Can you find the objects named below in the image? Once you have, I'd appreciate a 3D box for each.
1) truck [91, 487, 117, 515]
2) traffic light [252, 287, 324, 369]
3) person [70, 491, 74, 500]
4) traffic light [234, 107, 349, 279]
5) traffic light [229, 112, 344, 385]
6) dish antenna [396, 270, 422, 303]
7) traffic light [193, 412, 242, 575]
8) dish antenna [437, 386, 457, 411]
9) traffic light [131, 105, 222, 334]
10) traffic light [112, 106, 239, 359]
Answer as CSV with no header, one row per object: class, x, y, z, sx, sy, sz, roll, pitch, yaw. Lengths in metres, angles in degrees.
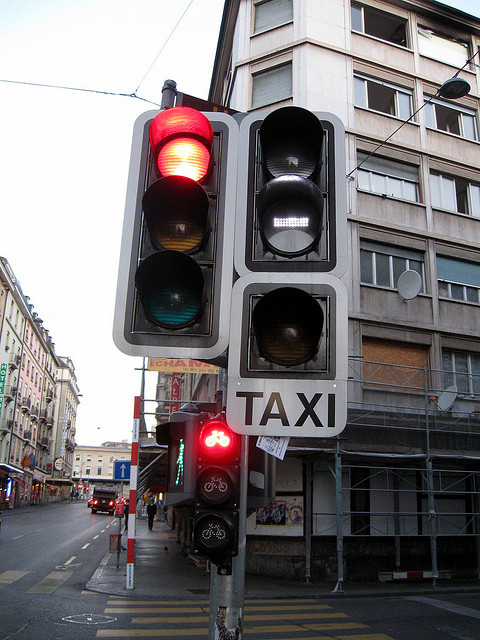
truck,-13.461,17.719,54.691,2.046,2.484,3.587,12,-19,-33
traffic light,0.194,0.033,2.287,0.272,0.332,0.239,4,6,7
person,-33.671,34.935,110.998,0.750,1.254,2.517,6,-17,-16
traffic light,0.241,-0.575,2.568,0.488,0.829,0.432,2,-17,2
traffic light,0.207,-0.347,2.374,0.418,1.274,0.373,1,-14,0
dish antenna,5.198,-0.999,16.861,0.795,0.860,0.678,18,-16,-34
traffic light,-0.091,0.670,2.202,0.188,0.615,0.150,1,-16,0
dish antenna,5.427,2.058,14.611,0.371,0.670,0.882,2,-16,-3
traffic light,-0.259,-0.422,2.426,0.393,1.163,0.349,4,-20,-6
traffic light,-0.278,-0.459,2.468,0.520,1.306,0.347,1,-16,-1
